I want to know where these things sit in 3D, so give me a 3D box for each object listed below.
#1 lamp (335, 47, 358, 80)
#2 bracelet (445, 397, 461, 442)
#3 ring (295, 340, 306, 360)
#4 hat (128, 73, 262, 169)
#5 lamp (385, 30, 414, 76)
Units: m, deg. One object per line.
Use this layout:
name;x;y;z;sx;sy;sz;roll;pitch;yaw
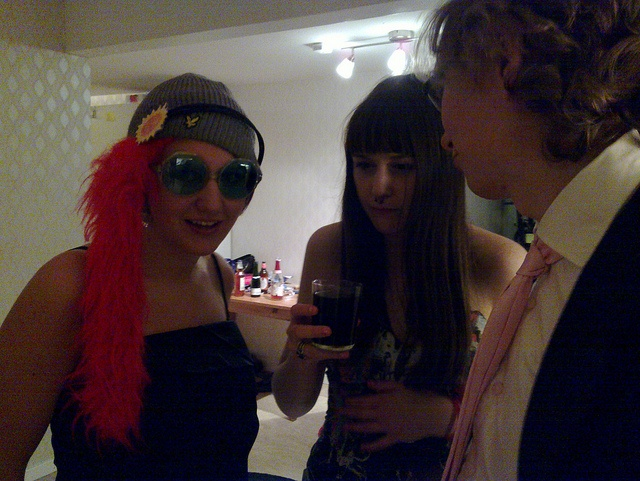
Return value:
lamp;0.080;-0.523;1.546;0.054;0.112;0.049;8;-36;24
bracelet;0.414;0.548;1.634;0.047;0.125;0.105;6;-4;1
ring;-0.058;0.327;1.567;0.020;0.050;0.037;0;8;-3
hat;-0.320;-0.328;1.383;0.224;0.294;0.176;-16;55;-36
lamp;0.228;-0.540;1.506;0.071;0.122;0.133;4;8;5
